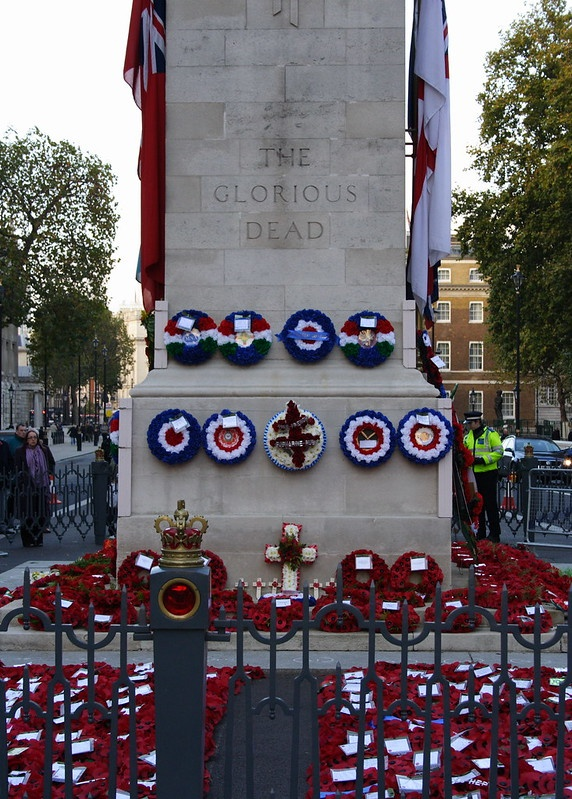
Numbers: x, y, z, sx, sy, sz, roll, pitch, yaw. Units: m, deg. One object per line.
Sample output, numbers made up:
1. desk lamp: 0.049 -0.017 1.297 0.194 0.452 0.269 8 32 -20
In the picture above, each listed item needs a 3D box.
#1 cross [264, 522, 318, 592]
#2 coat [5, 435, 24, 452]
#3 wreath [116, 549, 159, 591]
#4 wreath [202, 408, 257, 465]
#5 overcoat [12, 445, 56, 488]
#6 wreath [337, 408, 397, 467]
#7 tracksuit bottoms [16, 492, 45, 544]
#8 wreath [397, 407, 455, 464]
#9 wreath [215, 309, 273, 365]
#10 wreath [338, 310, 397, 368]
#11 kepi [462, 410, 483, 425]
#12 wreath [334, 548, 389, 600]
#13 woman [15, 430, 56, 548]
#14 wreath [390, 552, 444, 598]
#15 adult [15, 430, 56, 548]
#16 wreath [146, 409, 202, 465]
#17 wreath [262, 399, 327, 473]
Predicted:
1. cross: 0.019 1.344 15.103 0.493 0.726 0.172 0 -2 -4
2. coat: -3.342 0.511 21.515 0.232 0.241 0.139 1 1 -8
3. wreath: -1.280 1.426 14.989 0.350 0.313 0.542 -1 -2 -7
4. wreath: -0.515 0.299 15.362 0.482 0.545 0.162 8 -39 20
5. overcoat: -2.973 0.758 20.450 0.402 0.462 0.227 3 -14 -33
6. wreath: 0.704 0.218 15.519 0.492 0.242 0.520 0 9 29
7. tracksuit bottoms: -2.894 1.248 20.116 0.015 0.663 0.429 -7 -7 44
8. wreath: 1.221 0.228 15.537 0.482 0.233 0.532 -1 11 -23
9. wreath: -0.398 -0.575 15.730 0.494 0.251 0.635 7 43 -11
10. wreath: 0.704 -0.554 15.657 0.484 0.471 0.152 -1 -2 -11
11. kepi: 2.130 0.180 20.049 0.194 0.143 0.254 -1 1 -2
12. wreath: 0.666 1.440 14.707 0.481 0.606 0.207 1 4 -9
13. woman: -2.905 0.972 20.317 0.461 1.370 0.349 -7 15 -35
14. wreath: 1.098 1.460 14.893 0.510 0.382 0.419 -1 -2 -12
15. adult: -2.904 0.970 20.354 0.464 1.380 0.338 -7 17 -29
16. wreath: -0.989 0.311 15.326 0.470 0.486 0.239 -1 -2 -6
17. wreath: 0.065 0.302 15.371 0.472 0.614 0.202 -4 -2 -1
